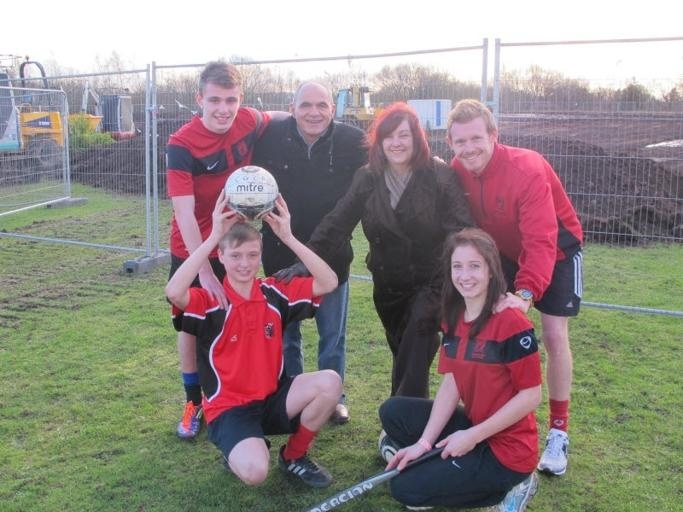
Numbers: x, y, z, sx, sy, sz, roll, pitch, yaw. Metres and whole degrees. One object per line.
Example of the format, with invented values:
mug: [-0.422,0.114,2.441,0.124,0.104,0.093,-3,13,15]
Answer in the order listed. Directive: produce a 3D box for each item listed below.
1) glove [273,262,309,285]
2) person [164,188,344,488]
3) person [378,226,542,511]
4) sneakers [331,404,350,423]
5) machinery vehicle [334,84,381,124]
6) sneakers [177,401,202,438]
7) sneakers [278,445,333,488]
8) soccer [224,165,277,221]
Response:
glove: [-0.356,0.130,4.239,0.129,0.067,0.216,25,64,33]
person: [-0.539,0.623,3.933,1.121,1.942,0.617,-4,10,-15]
person: [0.782,0.770,3.777,0.955,1.824,0.521,1,10,11]
sneakers: [0.000,1.264,4.744,0.102,0.119,0.246,0,-16,-6]
machinery vehicle: [0.310,-3.499,13.410,1.228,0.700,0.778,-4,22,12]
sneakers: [-1.167,1.264,4.595,0.104,0.148,0.321,6,15,-4]
sneakers: [-0.233,1.488,4.181,0.408,0.206,0.182,20,21,19]
soccer: [-0.583,-0.439,4.004,0.304,0.397,0.339,0,14,-1]
